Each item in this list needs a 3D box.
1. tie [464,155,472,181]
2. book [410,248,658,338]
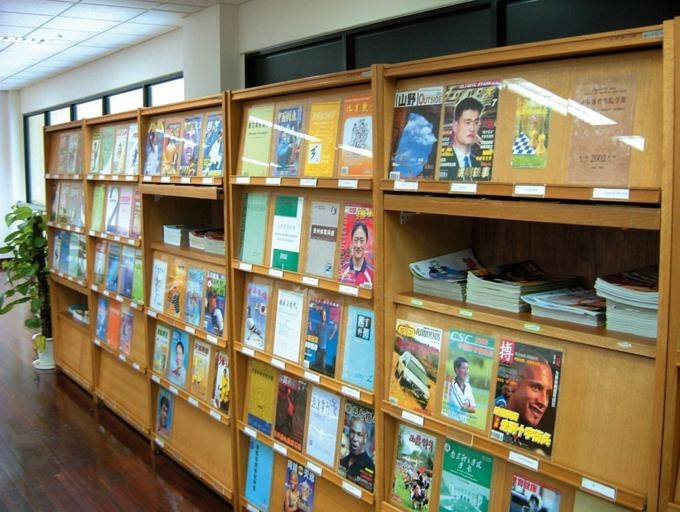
[{"bbox_3d":[0.513,-0.351,2.038,0.026,0.097,0.052,-3,9,-25],"label":"tie"},{"bbox_3d":[0.817,0.112,2.156,0.422,0.208,1.007,-8,13,-44],"label":"book"}]
